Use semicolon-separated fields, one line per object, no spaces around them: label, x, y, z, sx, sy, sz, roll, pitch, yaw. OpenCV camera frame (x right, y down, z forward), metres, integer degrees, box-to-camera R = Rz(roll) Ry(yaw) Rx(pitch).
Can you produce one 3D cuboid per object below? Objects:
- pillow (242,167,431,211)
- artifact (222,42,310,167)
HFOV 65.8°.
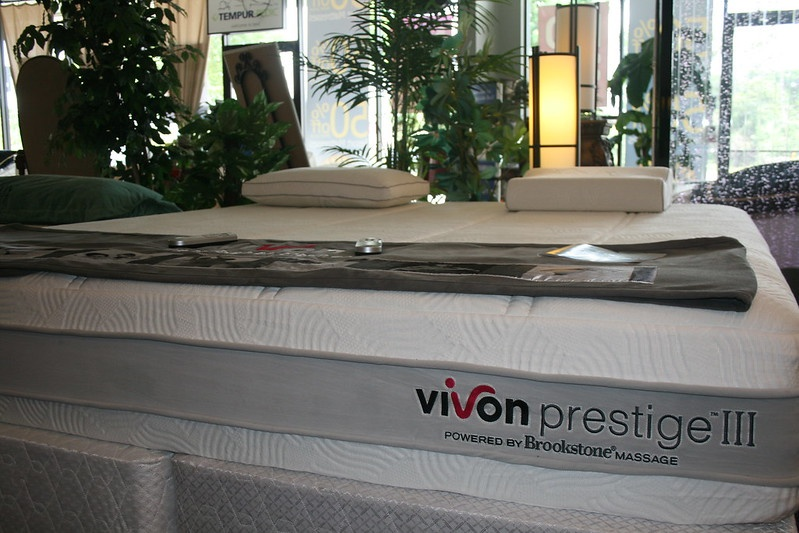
pillow;-0.197;-0.385;2.890;0.966;0.189;0.542;4;15;35
artifact;-0.946;-1.040;4.514;0.480;1.075;0.124;7;39;30
